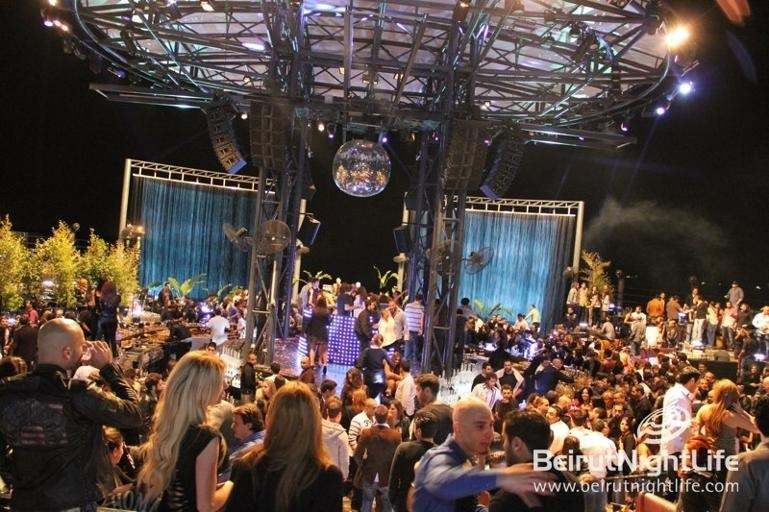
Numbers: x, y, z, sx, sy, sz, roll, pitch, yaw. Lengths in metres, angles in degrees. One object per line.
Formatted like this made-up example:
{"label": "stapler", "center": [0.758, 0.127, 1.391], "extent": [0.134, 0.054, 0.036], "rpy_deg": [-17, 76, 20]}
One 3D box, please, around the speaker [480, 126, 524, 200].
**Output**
{"label": "speaker", "center": [3.050, -2.532, 14.667], "extent": [1.365, 1.702, 0.552], "rpy_deg": [4, 21, 1]}

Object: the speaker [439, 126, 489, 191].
{"label": "speaker", "center": [1.933, -2.381, 13.362], "extent": [0.977, 1.465, 1.078], "rpy_deg": [5, -4, 3]}

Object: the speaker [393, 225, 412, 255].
{"label": "speaker", "center": [0.559, -0.579, 17.394], "extent": [0.536, 0.954, 0.818], "rpy_deg": [5, -5, 2]}

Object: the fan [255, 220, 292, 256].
{"label": "fan", "center": [-2.860, -0.490, 13.810], "extent": [0.863, 0.779, 0.473], "rpy_deg": [2, -5, 35]}

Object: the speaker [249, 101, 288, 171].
{"label": "speaker", "center": [-2.778, -2.902, 13.245], "extent": [0.554, 1.760, 1.279], "rpy_deg": [5, 12, 5]}

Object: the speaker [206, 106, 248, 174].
{"label": "speaker", "center": [-4.257, -3.126, 14.723], "extent": [1.084, 1.132, 0.731], "rpy_deg": [7, -5, -21]}

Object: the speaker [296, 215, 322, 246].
{"label": "speaker", "center": [-2.216, -0.715, 15.925], "extent": [0.538, 1.003, 1.317], "rpy_deg": [5, -5, -6]}

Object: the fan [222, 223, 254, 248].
{"label": "fan", "center": [-3.688, -0.463, 13.978], "extent": [0.601, 0.598, 0.947], "rpy_deg": [5, -5, 3]}
